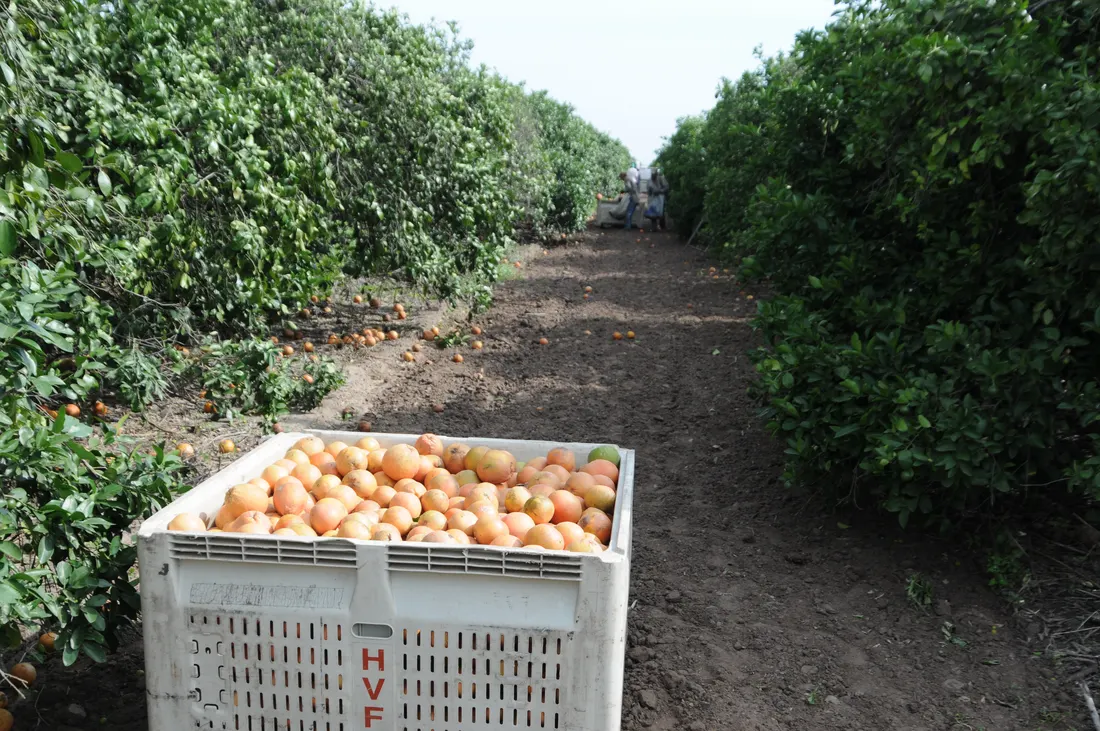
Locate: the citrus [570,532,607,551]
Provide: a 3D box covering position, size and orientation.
[{"bbox_3d":[0.182,0.848,4.003,0.099,0.123,0.097,1,-5,-35],"label":"citrus"}]

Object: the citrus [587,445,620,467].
[{"bbox_3d":[0.326,0.508,4.797,0.131,0.126,0.125,-20,-31,21],"label":"citrus"}]

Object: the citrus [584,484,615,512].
[{"bbox_3d":[0.276,0.709,4.490,0.141,0.139,0.132,-1,7,-37],"label":"citrus"}]
